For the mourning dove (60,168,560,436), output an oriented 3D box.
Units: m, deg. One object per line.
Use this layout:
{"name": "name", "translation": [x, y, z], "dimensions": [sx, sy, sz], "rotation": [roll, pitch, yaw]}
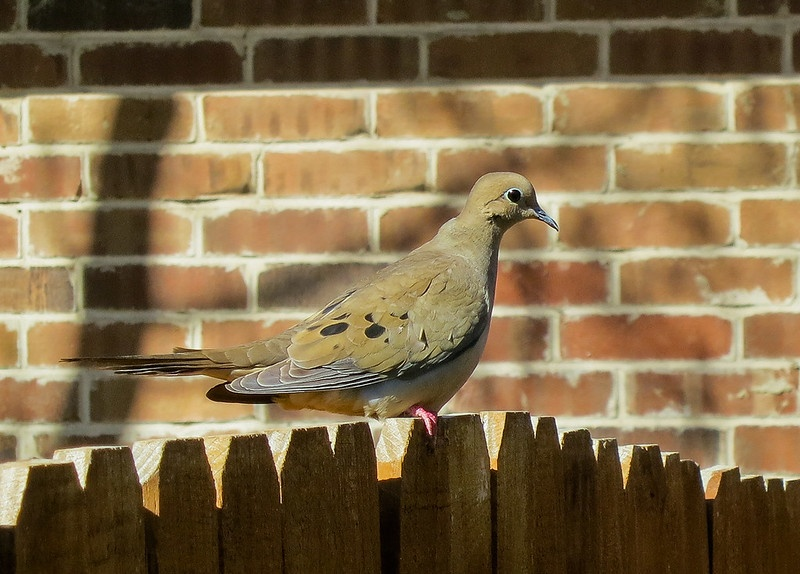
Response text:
{"name": "mourning dove", "translation": [-0.094, 0.127, 6.711], "dimensions": [1.969, 0.596, 1.226], "rotation": [1, 80, -10]}
